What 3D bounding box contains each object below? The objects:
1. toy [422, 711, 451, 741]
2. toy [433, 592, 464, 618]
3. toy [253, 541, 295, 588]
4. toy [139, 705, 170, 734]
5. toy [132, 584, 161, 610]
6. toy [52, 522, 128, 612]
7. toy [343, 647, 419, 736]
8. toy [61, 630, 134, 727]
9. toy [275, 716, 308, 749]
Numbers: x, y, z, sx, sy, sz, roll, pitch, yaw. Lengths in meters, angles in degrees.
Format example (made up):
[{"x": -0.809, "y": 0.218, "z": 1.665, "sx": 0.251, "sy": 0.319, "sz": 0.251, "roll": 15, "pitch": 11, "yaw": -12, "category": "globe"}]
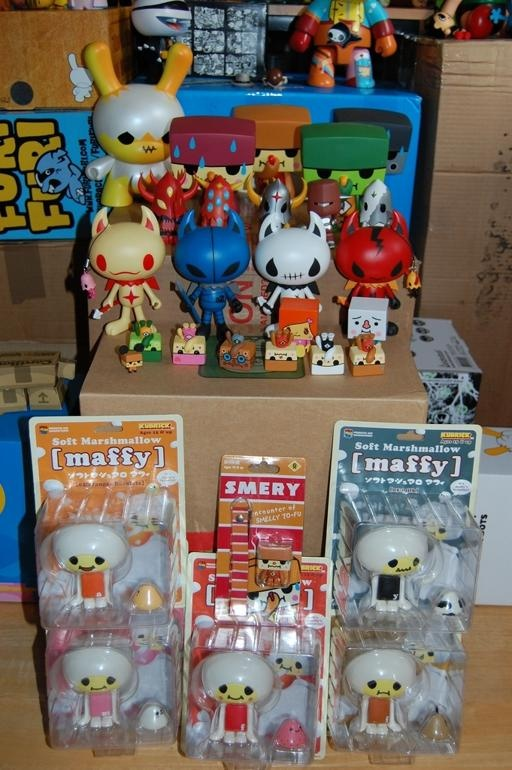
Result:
[{"x": 0.242, "y": 0.457, "z": 0.794, "sx": 0.035, "sy": 0.026, "sz": 0.023, "roll": 3, "pitch": 27, "yaw": 3, "category": "toy"}, {"x": 0.245, "y": 0.278, "z": 0.747, "sx": 0.030, "sy": 0.039, "sz": 0.031, "roll": 8, "pitch": 10, "yaw": 24, "category": "toy"}, {"x": 0.024, "y": 0.237, "z": 0.777, "sx": 0.052, "sy": 0.072, "sz": 0.024, "roll": 2, "pitch": 25, "yaw": -2, "category": "toy"}, {"x": -0.132, "y": 0.431, "z": 0.766, "sx": 0.036, "sy": 0.044, "sz": 0.034, "roll": 3, "pitch": 10, "yaw": -1, "category": "toy"}, {"x": -0.132, "y": 0.260, "z": 0.724, "sx": 0.036, "sy": 0.025, "sz": 0.021, "roll": -4, "pitch": 27, "yaw": -10, "category": "toy"}, {"x": -0.201, "y": 0.216, "z": 0.704, "sx": 0.094, "sy": 0.117, "sz": 0.047, "roll": 1, "pitch": 14, "yaw": -6, "category": "toy"}, {"x": 0.161, "y": 0.402, "z": 0.767, "sx": 0.096, "sy": 0.136, "sz": 0.040, "roll": 1, "pitch": 26, "yaw": -2, "category": "toy"}, {"x": -0.198, "y": 0.362, "z": 0.734, "sx": 0.105, "sy": 0.134, "sz": 0.059, "roll": 2, "pitch": 16, "yaw": -4, "category": "toy"}, {"x": 0.045, "y": 0.448, "z": 0.754, "sx": 0.027, "sy": 0.025, "sz": 0.039, "roll": 2, "pitch": 0, "yaw": 3, "category": "toy"}]
